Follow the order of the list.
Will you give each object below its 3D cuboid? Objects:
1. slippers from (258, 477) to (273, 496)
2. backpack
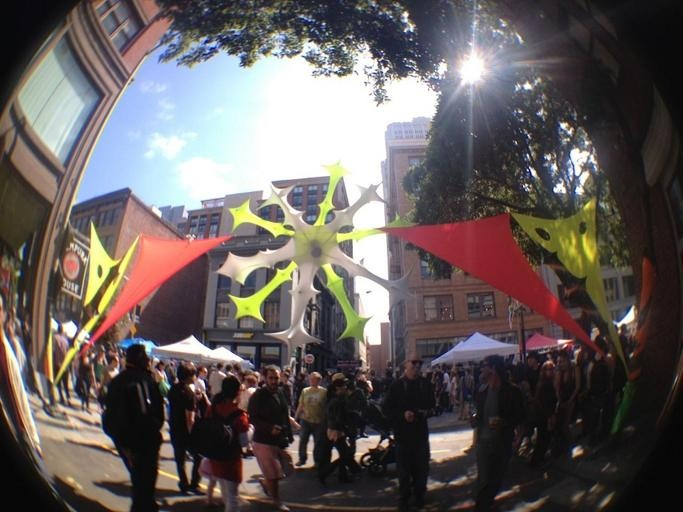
[{"bbox_3d":[-0.654,1.990,3.923,0.063,0.204,0.082,12,-57,-30],"label":"slippers"},{"bbox_3d":[-1.241,1.762,4.507,0.317,0.499,0.493,-6,-50,-1],"label":"backpack"}]
